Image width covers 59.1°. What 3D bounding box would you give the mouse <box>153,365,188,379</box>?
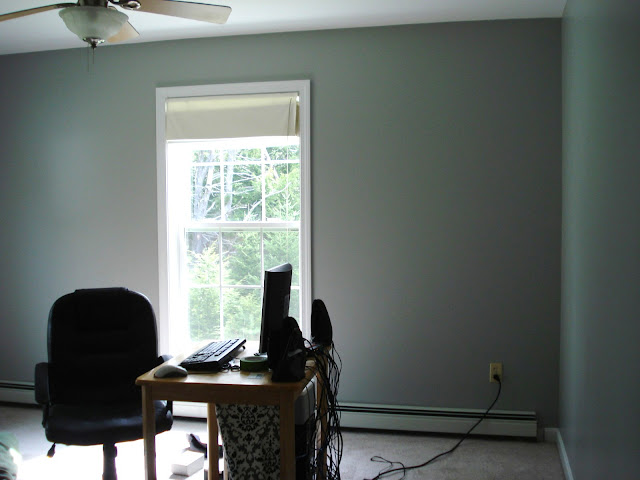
[{"bbox_3d":[-0.784,0.689,2.963,0.113,0.039,0.083,-1,-2,-15],"label":"mouse"}]

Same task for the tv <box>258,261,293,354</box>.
[{"bbox_3d":[-0.245,0.392,3.194,0.106,0.531,0.573,6,2,9],"label":"tv"}]

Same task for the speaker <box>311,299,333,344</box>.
[{"bbox_3d":[0.005,0.504,3.362,0.123,0.286,0.154,-2,14,-1],"label":"speaker"}]

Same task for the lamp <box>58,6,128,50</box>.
[{"bbox_3d":[-1.164,-1.113,2.901,0.221,0.100,0.230,-5,-6,25],"label":"lamp"}]

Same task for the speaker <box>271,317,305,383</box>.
[{"bbox_3d":[-0.176,0.562,2.937,0.206,0.306,0.217,4,15,20],"label":"speaker"}]
